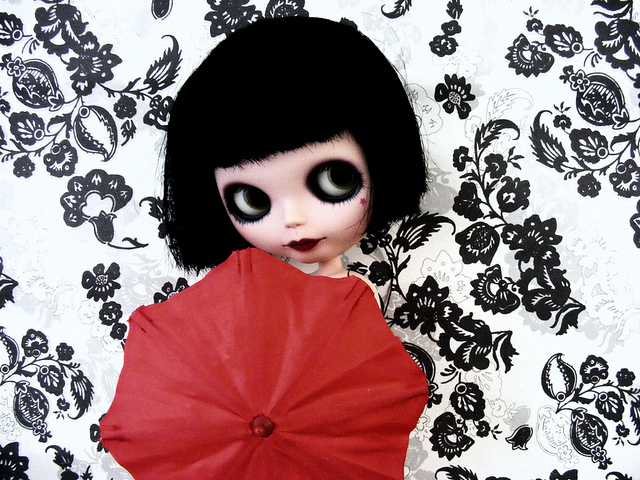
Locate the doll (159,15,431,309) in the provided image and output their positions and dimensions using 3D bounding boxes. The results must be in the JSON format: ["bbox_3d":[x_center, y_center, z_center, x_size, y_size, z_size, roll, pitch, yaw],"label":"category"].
[{"bbox_3d":[-0.104,-0.175,2.017,0.628,0.733,0.606,-8,36,-14],"label":"doll"}]
